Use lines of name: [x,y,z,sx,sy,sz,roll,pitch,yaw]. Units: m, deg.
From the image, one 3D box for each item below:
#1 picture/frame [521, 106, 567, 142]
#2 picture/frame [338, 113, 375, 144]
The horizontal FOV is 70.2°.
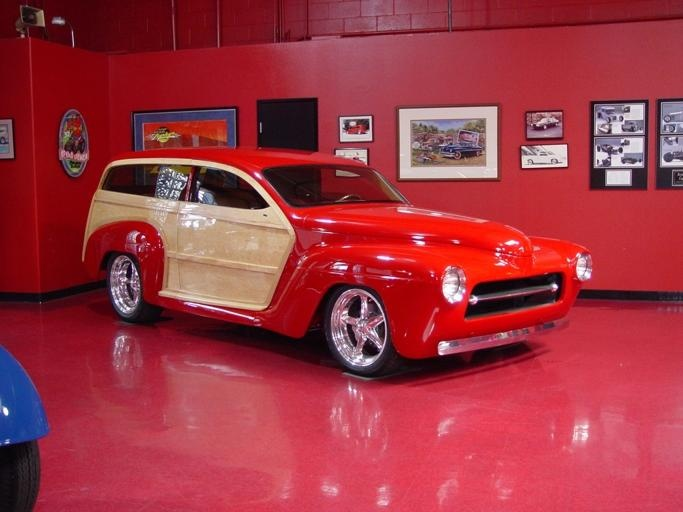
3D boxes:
picture/frame: [2.611,-1.706,6.229,0.430,0.385,0.036,0,5,10]
picture/frame: [0.224,-1.770,6.672,0.397,0.320,0.030,0,5,11]
